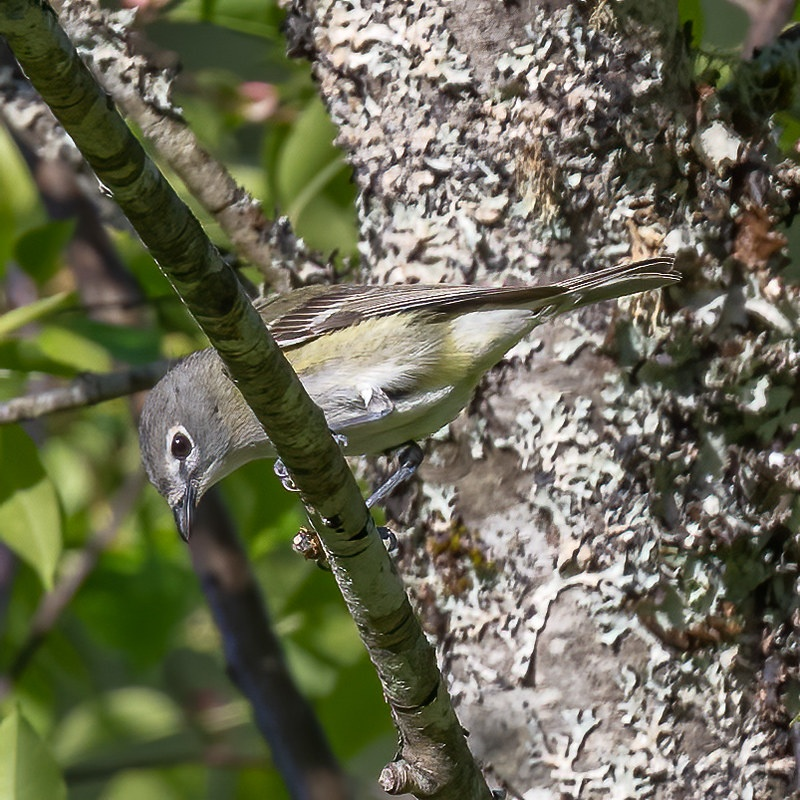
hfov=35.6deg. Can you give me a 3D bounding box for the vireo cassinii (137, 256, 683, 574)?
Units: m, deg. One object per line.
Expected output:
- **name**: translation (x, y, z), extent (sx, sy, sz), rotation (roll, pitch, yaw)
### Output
- **vireo cassinii**: translation (0.051, 0.009, 2.126), extent (0.922, 0.271, 0.365), rotation (-30, 70, 10)
